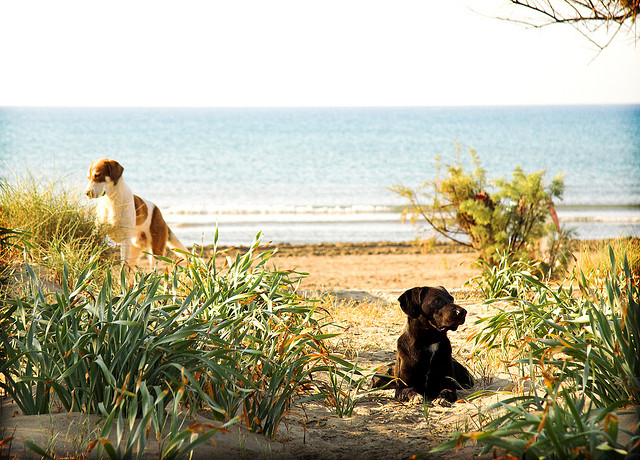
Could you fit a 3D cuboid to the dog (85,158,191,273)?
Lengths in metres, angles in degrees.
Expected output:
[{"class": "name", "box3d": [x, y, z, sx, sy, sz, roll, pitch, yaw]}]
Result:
[{"class": "dog", "box3d": [-3.281, -0.305, 13.150, 0.726, 1.778, 1.475, 1, 3, 31]}]

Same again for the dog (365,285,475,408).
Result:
[{"class": "dog", "box3d": [1.381, 1.504, 10.092, 1.234, 1.499, 0.668, 0, 3, 11]}]
